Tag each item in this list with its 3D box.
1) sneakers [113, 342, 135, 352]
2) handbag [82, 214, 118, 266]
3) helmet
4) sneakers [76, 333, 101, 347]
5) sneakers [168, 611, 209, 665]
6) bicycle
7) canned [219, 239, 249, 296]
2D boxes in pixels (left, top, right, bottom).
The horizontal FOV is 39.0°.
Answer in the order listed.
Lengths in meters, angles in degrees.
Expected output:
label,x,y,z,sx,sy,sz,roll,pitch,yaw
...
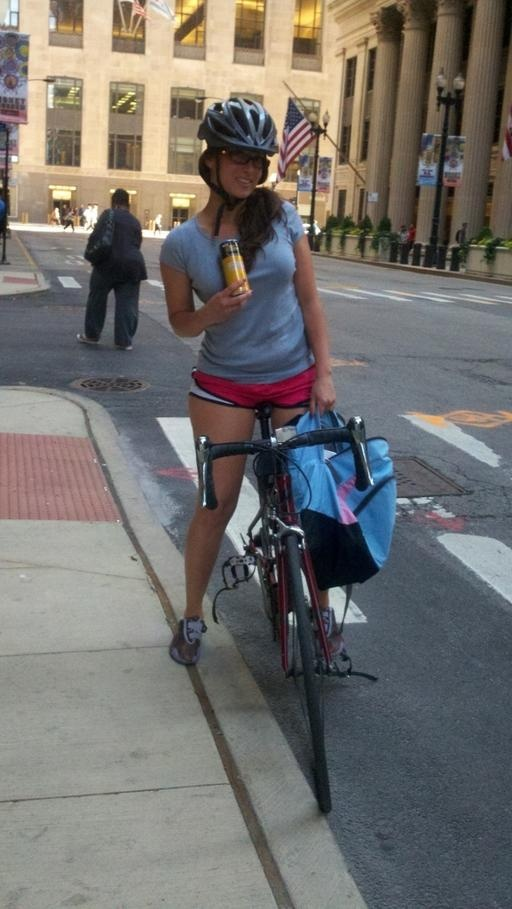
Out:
label,x,y,z,sx,sy,sz,roll,pitch,yaw
sneakers,-1.926,-1.540,10.408,0.268,0.128,0.099,16,28,33
handbag,-2.069,-2.964,9.746,0.231,0.696,0.402,20,-15,-34
helmet,-0.055,-0.999,2.166,0.173,0.128,0.257,-7,36,-19
sneakers,-2.478,-1.704,10.713,0.325,0.119,0.237,7,-10,1
sneakers,-0.258,0.695,2.685,0.086,0.090,0.205,30,29,-25
bicycle,0.085,0.335,2.294,0.415,0.855,1.389,-5,6,-4
canned,-0.066,-0.556,2.145,0.093,0.152,0.133,5,8,-5
